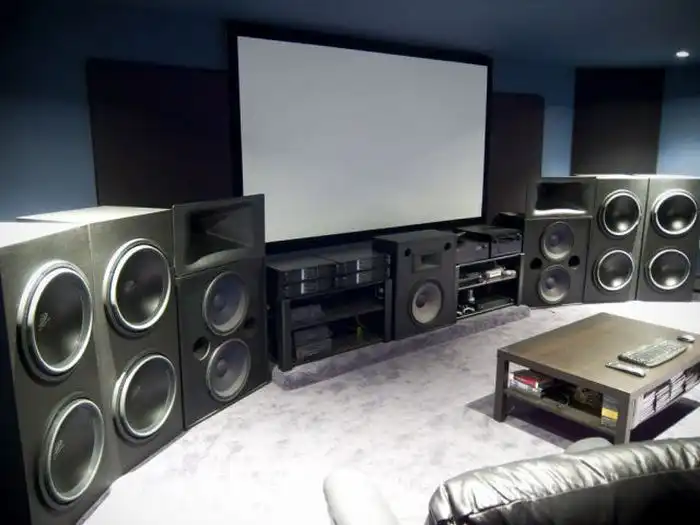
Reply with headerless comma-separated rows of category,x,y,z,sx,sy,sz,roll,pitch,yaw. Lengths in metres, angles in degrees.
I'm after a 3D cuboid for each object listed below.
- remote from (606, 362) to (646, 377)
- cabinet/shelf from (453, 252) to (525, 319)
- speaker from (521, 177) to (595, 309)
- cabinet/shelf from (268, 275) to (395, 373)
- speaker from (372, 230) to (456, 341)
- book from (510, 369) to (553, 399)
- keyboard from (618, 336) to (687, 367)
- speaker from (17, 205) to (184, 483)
remote,1.548,0.589,2.752,0.123,0.020,0.077,6,14,34
cabinet/shelf,1.206,0.186,4.550,0.749,0.502,0.268,-9,17,-21
speaker,2.026,-0.224,4.966,0.788,1.237,0.790,-4,12,-15
cabinet/shelf,-0.175,0.404,3.783,0.923,0.492,0.523,-11,12,-33
speaker,0.498,0.188,3.963,0.694,0.882,0.357,-10,14,-39
book,1.106,0.722,2.992,0.138,0.103,0.195,-10,15,-38
keyboard,1.800,0.535,2.924,0.481,0.054,0.187,-8,12,-33
speaker,-1.256,0.405,2.635,0.490,1.295,0.559,11,18,31
